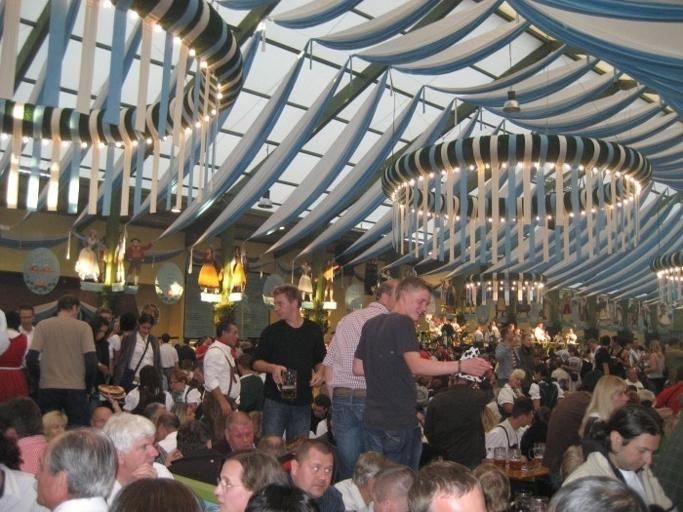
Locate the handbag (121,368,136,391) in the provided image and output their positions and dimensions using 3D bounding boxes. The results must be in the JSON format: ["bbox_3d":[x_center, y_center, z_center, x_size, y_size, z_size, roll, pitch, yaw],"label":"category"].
[{"bbox_3d":[-2.691,1.554,8.578,0.052,0.240,0.152,7,-2,-43],"label":"handbag"}]

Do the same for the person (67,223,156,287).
[{"bbox_3d":[-6.186,-0.057,17.944,1.410,1.327,0.832,10,-42,-20],"label":"person"}]

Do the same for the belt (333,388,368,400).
[{"bbox_3d":[0.061,1.178,5.812,0.303,0.106,0.050,4,-6,25],"label":"belt"}]

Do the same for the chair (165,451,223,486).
[{"bbox_3d":[-1.093,1.599,5.251,0.500,0.198,0.287,4,-7,25],"label":"chair"}]

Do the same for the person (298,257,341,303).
[{"bbox_3d":[-0.726,0.681,21.327,1.312,1.516,0.545,8,-18,-35],"label":"person"}]
